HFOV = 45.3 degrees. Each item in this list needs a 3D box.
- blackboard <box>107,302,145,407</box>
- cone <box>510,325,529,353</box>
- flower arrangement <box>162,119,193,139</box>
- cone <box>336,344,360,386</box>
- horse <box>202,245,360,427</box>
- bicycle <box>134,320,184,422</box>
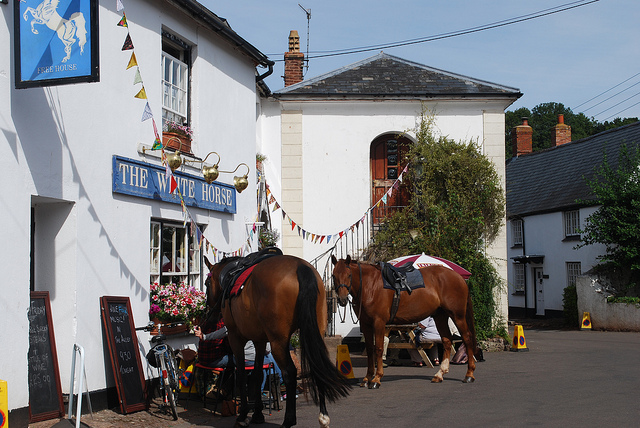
[{"bbox_3d":[-3.779,2.707,14.990,0.812,2.203,0.108,-10,1,26],"label":"blackboard"},{"bbox_3d":[5.522,3.444,21.239,0.631,0.740,0.459,4,-9,-39],"label":"cone"},{"bbox_3d":[-3.125,-1.879,16.885,0.187,0.317,0.979,-5,-8,23],"label":"flower arrangement"},{"bbox_3d":[0.548,3.270,17.013,0.531,0.691,0.578,-9,-11,22],"label":"cone"},{"bbox_3d":[-0.797,2.179,13.846,1.081,3.165,2.778,5,-10,-44],"label":"horse"},{"bbox_3d":[-3.100,3.036,15.119,0.829,1.895,1.531,-1,-7,-11],"label":"bicycle"}]
